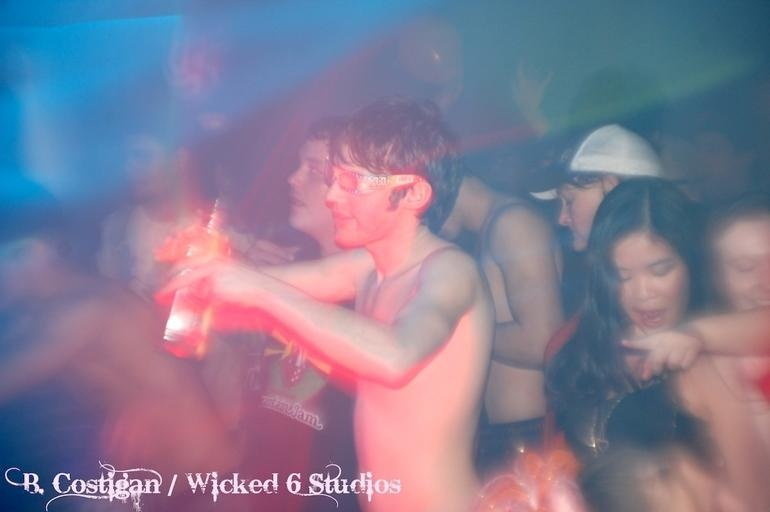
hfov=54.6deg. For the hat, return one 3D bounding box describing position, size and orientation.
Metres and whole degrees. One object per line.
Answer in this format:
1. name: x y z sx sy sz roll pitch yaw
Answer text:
1. hat: 0.994 -0.382 3.458 0.468 0.231 0.308 -11 -29 18
